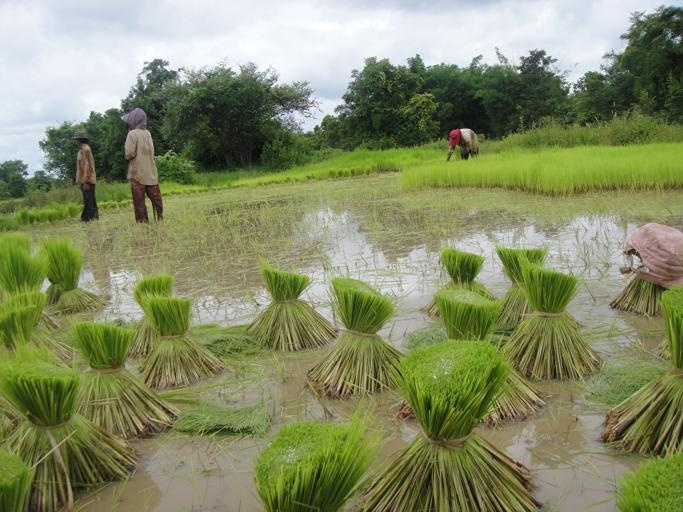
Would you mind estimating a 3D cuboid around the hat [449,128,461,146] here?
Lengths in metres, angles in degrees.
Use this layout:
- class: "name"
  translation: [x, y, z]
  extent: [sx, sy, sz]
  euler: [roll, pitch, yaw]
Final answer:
- class: "hat"
  translation: [3.382, -3.501, 17.409]
  extent: [0.336, 0.424, 0.737]
  euler: [-4, 11, 10]

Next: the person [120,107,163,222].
- class: "person"
  translation: [-3.246, -1.480, 9.559]
  extent: [0.475, 1.860, 1.375]
  euler: [-9, 10, -18]
